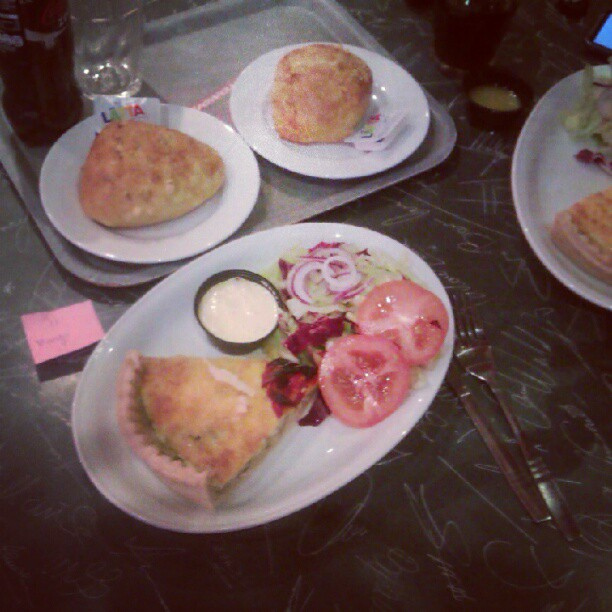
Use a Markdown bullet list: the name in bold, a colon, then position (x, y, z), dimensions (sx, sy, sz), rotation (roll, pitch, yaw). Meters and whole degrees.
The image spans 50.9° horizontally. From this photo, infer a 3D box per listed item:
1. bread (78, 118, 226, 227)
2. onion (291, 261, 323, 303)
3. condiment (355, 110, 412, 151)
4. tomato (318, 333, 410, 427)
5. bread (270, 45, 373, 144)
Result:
- **bread**: position (-0.712, -0.588, 2.921), dimensions (0.608, 0.122, 0.589), rotation (19, 67, 5)
- **onion**: position (-0.006, -0.115, 2.762), dimensions (0.118, 0.059, 0.181), rotation (16, 67, 4)
- **condiment**: position (0.394, -0.818, 3.151), dimensions (0.296, 0.115, 0.130), rotation (-19, 68, -11)
- **tomato**: position (0.225, 0.280, 2.535), dimensions (0.337, 0.118, 0.346), rotation (-33, 72, -16)
- **bread**: position (0.080, -1.093, 3.275), dimensions (0.508, 0.157, 0.589), rotation (1, 67, -3)
